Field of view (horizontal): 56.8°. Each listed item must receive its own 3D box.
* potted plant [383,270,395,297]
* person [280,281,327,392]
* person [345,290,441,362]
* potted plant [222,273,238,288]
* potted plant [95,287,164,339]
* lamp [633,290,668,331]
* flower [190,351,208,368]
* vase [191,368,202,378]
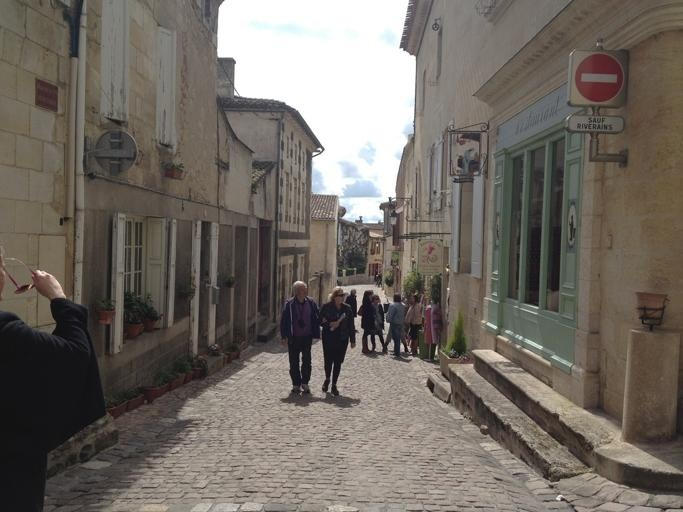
[{"bbox_3d":[3.575,2.058,47.812,0.709,2.136,1.774,1,0,0],"label":"potted plant"},{"bbox_3d":[-0.713,1.326,10.368,0.684,1.828,0.553,0,0,-32],"label":"person"},{"bbox_3d":[1.371,1.834,16.227,1.521,1.612,0.555,2,7,17],"label":"person"},{"bbox_3d":[-2.633,0.529,14.577,0.242,0.301,0.262,3,-16,-8],"label":"potted plant"},{"bbox_3d":[-3.013,0.863,9.305,0.473,0.563,0.668,-4,-7,37],"label":"potted plant"},{"bbox_3d":[2.887,0.502,6.008,0.264,0.453,0.344,3,-3,2],"label":"lamp"},{"bbox_3d":[-2.599,1.891,11.498,0.215,0.170,0.308,8,-1,-8],"label":"flower"},{"bbox_3d":[-2.612,2.092,11.231,0.137,0.127,0.154,3,3,12],"label":"vase"}]
